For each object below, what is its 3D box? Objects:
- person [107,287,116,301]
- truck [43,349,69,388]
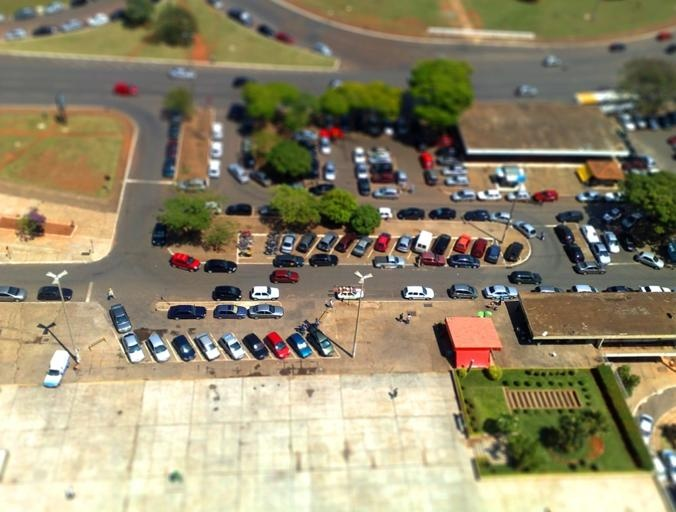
[{"bbox_3d":[-39.921,6.782,131.402,1.375,0.503,2.322,-4,59,-13],"label":"person"},{"bbox_3d":[-46.649,18.971,124.213,3.042,2.412,6.088,9,60,-10],"label":"truck"}]
